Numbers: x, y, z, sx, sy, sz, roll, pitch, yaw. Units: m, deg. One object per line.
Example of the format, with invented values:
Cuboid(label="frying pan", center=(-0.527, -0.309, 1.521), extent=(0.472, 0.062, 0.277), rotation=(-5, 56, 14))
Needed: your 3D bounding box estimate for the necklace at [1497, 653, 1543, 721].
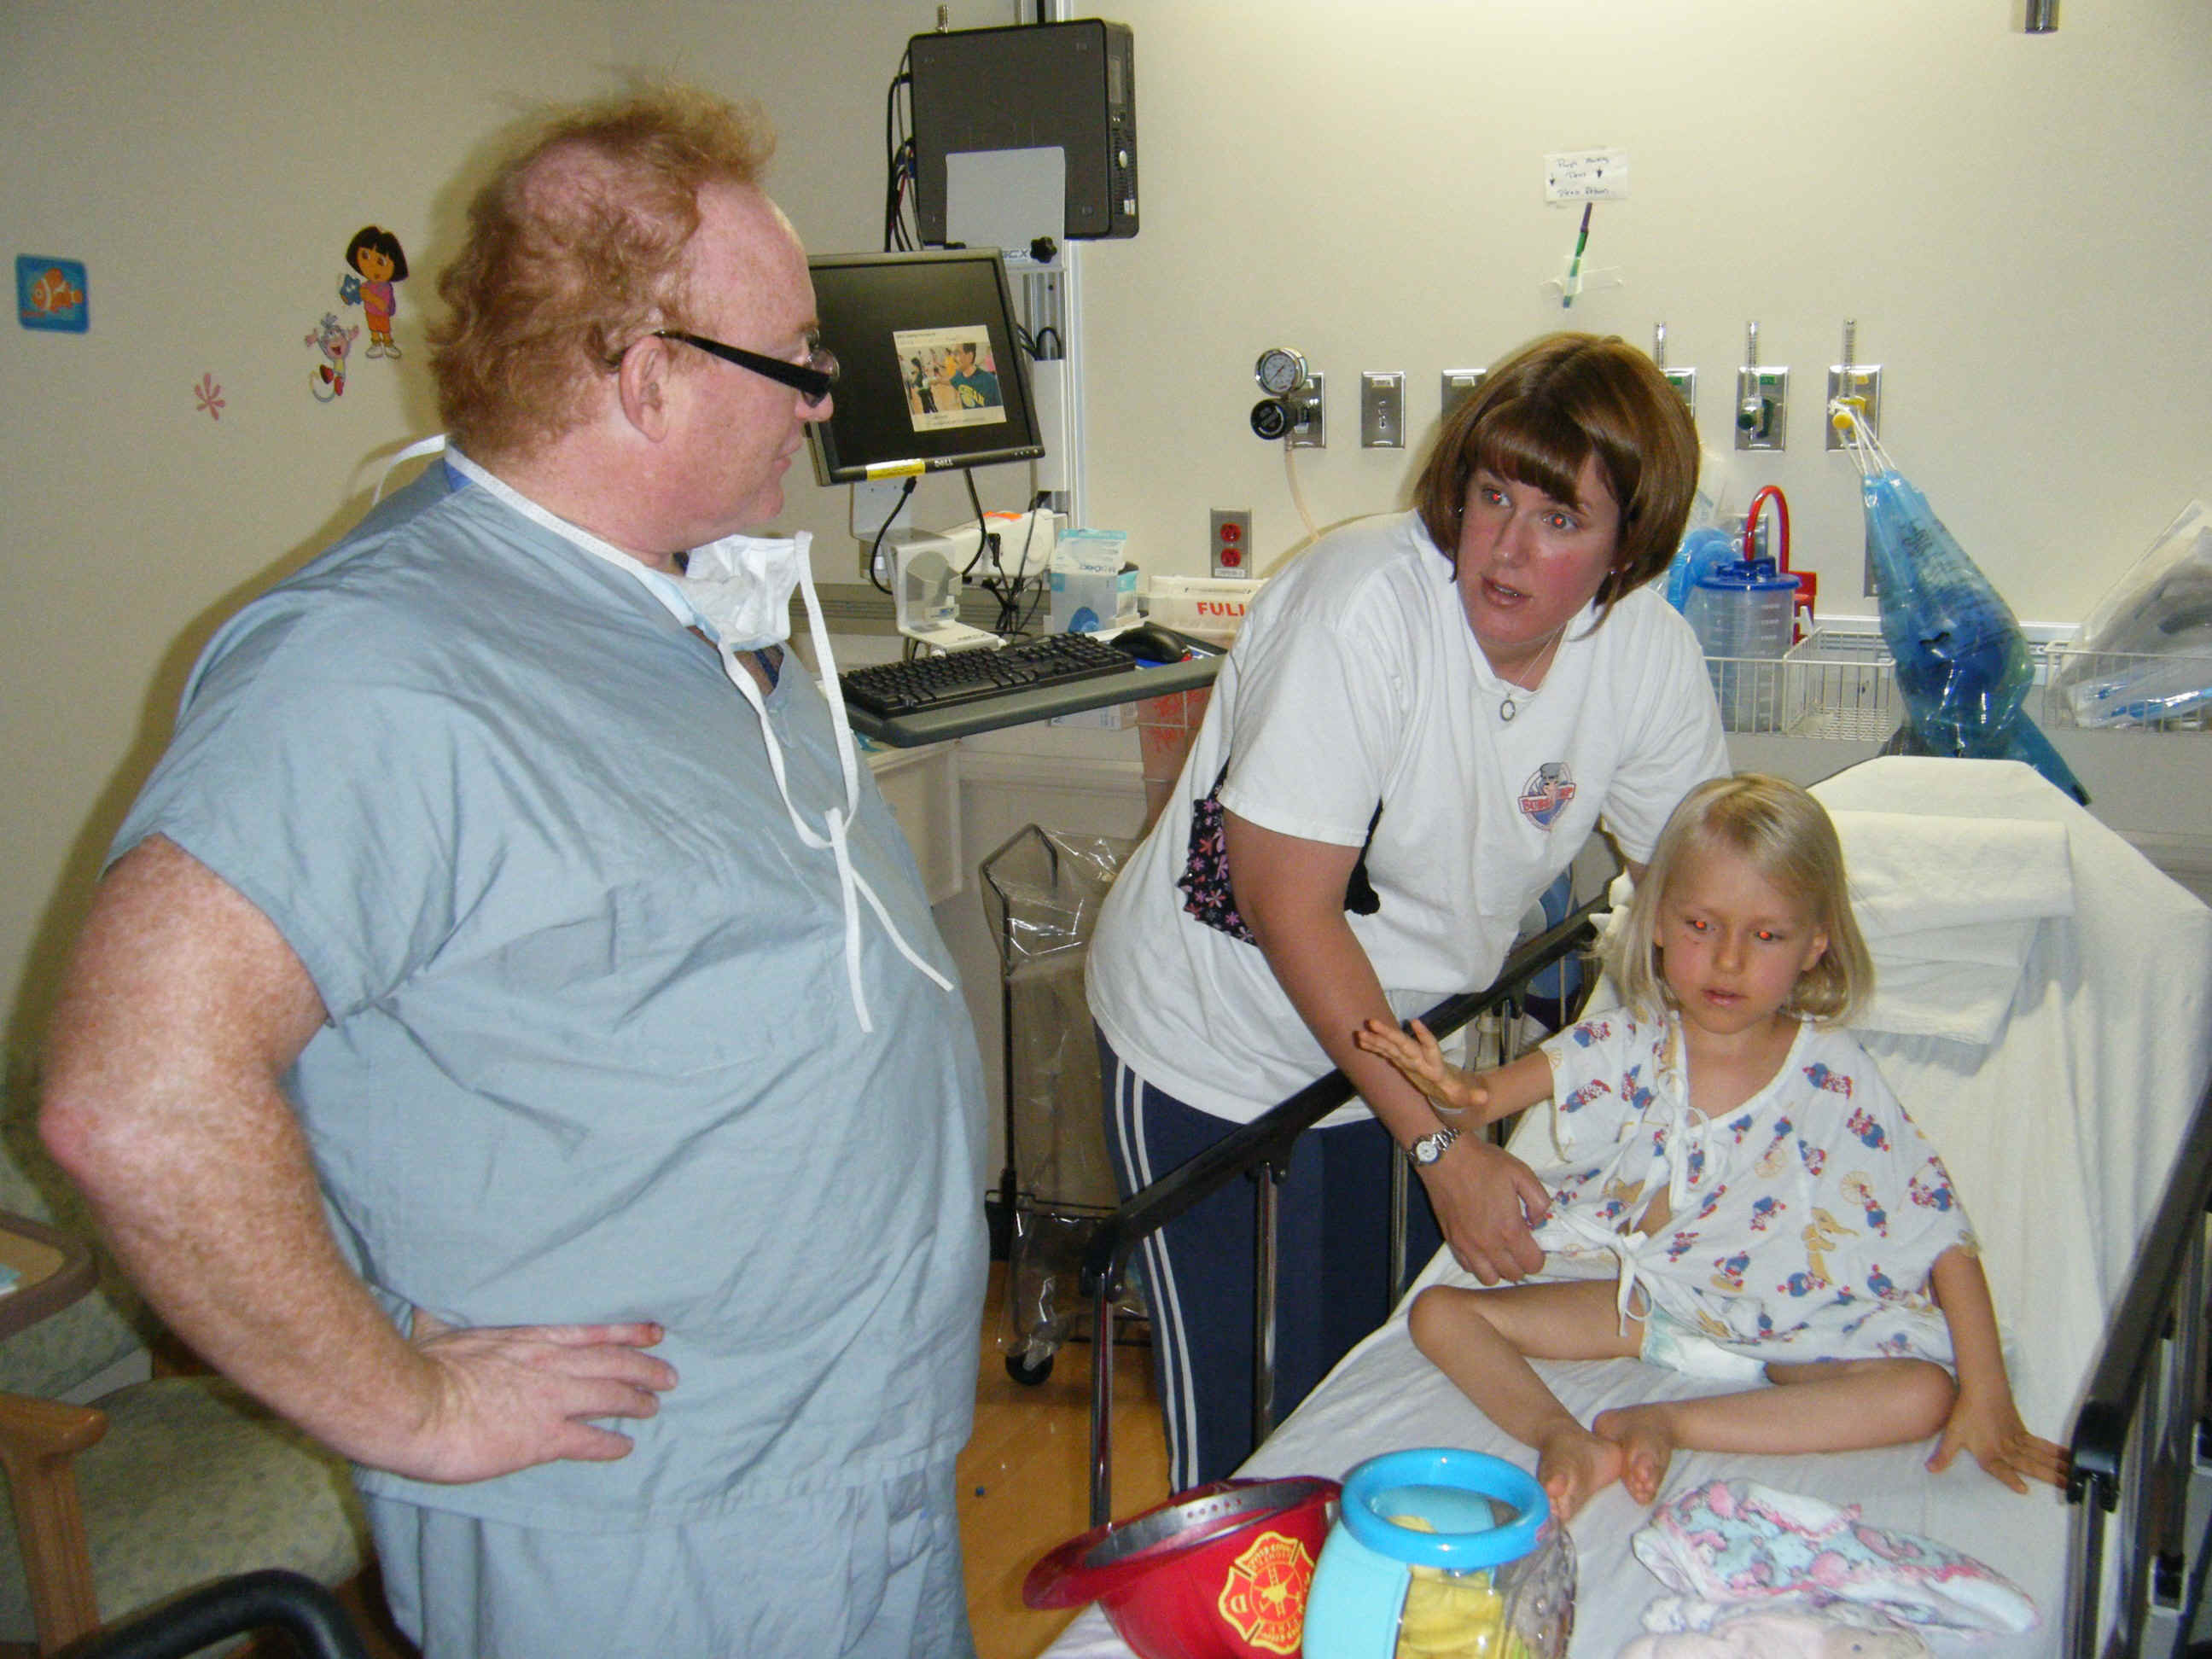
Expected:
Cuboid(label="necklace", center=(0.435, -0.152, 2.050), extent=(0.043, 0.067, 0.024), rotation=(-2, 4, -29))

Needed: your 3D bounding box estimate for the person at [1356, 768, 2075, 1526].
Cuboid(label="person", center=(0.696, 0.365, 2.115), extent=(0.539, 0.819, 0.533), rotation=(8, 15, 26))

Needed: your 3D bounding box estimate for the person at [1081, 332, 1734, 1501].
Cuboid(label="person", center=(0.309, 0.168, 2.308), extent=(0.562, 1.459, 0.593), rotation=(1, 13, -1))

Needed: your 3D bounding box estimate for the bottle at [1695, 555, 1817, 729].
Cuboid(label="bottle", center=(1.098, -0.336, 3.373), extent=(0.196, 0.308, 0.121), rotation=(-4, 15, -20))

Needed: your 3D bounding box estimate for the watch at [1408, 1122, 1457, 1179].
Cuboid(label="watch", center=(0.337, 0.337, 2.041), extent=(0.046, 0.048, 0.036), rotation=(-30, 43, 20))
